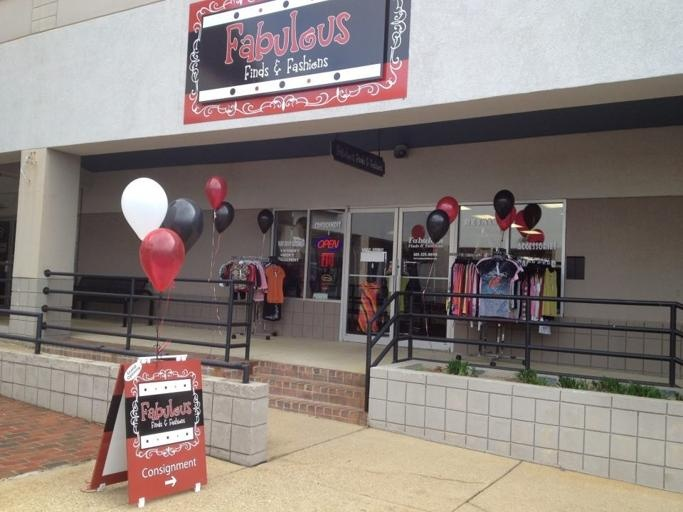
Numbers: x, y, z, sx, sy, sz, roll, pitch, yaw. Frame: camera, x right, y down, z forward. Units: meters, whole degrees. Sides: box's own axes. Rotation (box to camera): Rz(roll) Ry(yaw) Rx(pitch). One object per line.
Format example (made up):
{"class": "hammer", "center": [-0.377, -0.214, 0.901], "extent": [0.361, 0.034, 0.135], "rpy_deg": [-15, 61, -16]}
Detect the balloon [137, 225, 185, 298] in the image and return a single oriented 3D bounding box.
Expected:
{"class": "balloon", "center": [-1.838, 0.045, 5.698], "extent": [0.475, 0.734, 0.491], "rpy_deg": [13, 14, 35]}

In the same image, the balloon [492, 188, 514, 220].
{"class": "balloon", "center": [2.587, -0.836, 8.931], "extent": [0.278, 0.470, 0.334], "rpy_deg": [4, 8, 20]}

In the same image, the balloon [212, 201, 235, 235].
{"class": "balloon", "center": [-2.111, -0.709, 9.839], "extent": [0.342, 0.654, 0.365], "rpy_deg": [8, -2, 20]}

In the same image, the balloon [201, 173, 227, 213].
{"class": "balloon", "center": [-2.110, -1.034, 9.334], "extent": [0.389, 0.684, 0.393], "rpy_deg": [11, -19, -31]}

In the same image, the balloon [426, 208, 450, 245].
{"class": "balloon", "center": [1.523, -0.444, 8.930], "extent": [0.383, 0.653, 0.403], "rpy_deg": [3, -4, 36]}

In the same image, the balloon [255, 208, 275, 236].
{"class": "balloon", "center": [-1.555, -0.693, 11.340], "extent": [0.330, 0.554, 0.635], "rpy_deg": [0, 8, -8]}

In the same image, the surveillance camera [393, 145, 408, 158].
{"class": "surveillance camera", "center": [1.080, -1.954, 10.294], "extent": [0.286, 0.265, 0.140], "rpy_deg": [6, 9, 30]}
